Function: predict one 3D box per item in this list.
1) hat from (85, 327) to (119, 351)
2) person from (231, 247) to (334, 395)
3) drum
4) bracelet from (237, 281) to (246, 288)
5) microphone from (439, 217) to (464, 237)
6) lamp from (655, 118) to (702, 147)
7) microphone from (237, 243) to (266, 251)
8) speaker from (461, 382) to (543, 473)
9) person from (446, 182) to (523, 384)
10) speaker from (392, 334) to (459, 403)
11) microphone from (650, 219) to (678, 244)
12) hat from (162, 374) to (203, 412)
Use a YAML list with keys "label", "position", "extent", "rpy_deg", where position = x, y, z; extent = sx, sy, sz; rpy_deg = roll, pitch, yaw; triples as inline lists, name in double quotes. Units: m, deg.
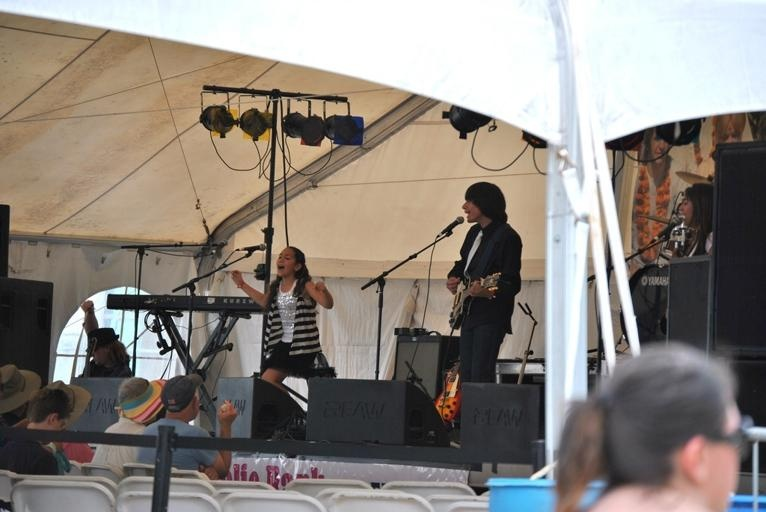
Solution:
- label: "hat"
  position: [-2.519, 0.739, 13.844]
  extent: [0.238, 0.114, 0.287]
  rpy_deg: [1, -4, -3]
- label: "person"
  position: [-0.785, 0.476, 12.650]
  extent: [0.866, 1.171, 0.408]
  rpy_deg: [-6, -10, 35]
- label: "drum"
  position: [2.208, 0.374, 12.656]
  extent: [0.274, 0.666, 0.518]
  rpy_deg: [3, -9, -16]
- label: "bracelet"
  position: [-1.190, 0.233, 12.959]
  extent: [0.067, 0.035, 0.094]
  rpy_deg: [0, 3, -2]
- label: "microphone"
  position: [0.659, -0.277, 14.619]
  extent: [0.286, 0.086, 0.087]
  rpy_deg: [-37, -33, 6]
- label: "lamp"
  position: [2.446, -1.033, 12.782]
  extent: [0.358, 0.215, 0.340]
  rpy_deg: [-2, -9, 13]
- label: "microphone"
  position: [-1.251, -0.086, 14.621]
  extent: [0.279, 0.077, 0.083]
  rpy_deg: [0, 13, -30]
- label: "speaker"
  position: [0.793, 1.113, 10.426]
  extent: [0.537, 0.544, 0.587]
  rpy_deg: [0, -9, 3]
- label: "person"
  position: [0.811, 0.211, 12.378]
  extent: [0.507, 1.622, 0.675]
  rpy_deg: [2, -8, -12]
- label: "speaker"
  position: [0.391, 0.970, 13.357]
  extent: [0.203, 0.541, 0.532]
  rpy_deg: [8, -8, -39]
- label: "microphone"
  position: [2.293, -0.204, 12.510]
  extent: [0.169, 0.179, 0.312]
  rpy_deg: [2, -9, -11]
- label: "hat"
  position: [-1.418, 0.943, 10.943]
  extent: [0.196, 0.280, 0.163]
  rpy_deg: [14, -35, 25]
